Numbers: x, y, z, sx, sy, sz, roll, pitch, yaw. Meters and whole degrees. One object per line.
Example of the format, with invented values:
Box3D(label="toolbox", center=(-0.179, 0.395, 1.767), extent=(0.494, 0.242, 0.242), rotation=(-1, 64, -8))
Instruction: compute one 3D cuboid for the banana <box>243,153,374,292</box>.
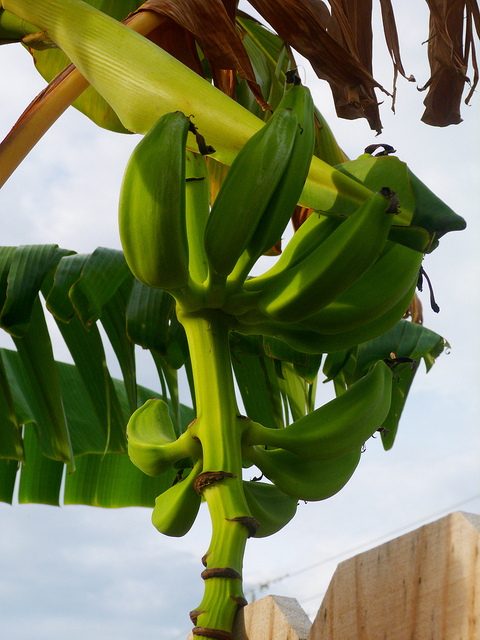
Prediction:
Box3D(label="banana", center=(0.127, -0.183, 2.389), extent=(0.052, 0.051, 0.371), rotation=(-32, -24, -39))

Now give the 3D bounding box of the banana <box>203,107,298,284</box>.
Box3D(label="banana", center=(0.012, -0.242, 2.330), extent=(0.095, 0.447, 0.140), rotation=(16, -4, 9))

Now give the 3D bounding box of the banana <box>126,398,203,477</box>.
Box3D(label="banana", center=(-0.137, 0.248, 2.477), extent=(0.150, 0.109, 0.153), rotation=(12, -24, -5))

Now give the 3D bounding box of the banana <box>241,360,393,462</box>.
Box3D(label="banana", center=(0.163, 0.194, 2.697), extent=(0.300, 0.131, 0.100), rotation=(-38, -44, 10))

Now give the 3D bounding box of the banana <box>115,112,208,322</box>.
Box3D(label="banana", center=(-0.133, -0.233, 2.363), extent=(0.122, 0.457, 0.083), rotation=(12, -31, -31))

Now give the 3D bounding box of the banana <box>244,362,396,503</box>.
Box3D(label="banana", center=(0.155, 0.225, 2.603), extent=(0.261, 0.233, 0.110), rotation=(-37, -52, 21))
